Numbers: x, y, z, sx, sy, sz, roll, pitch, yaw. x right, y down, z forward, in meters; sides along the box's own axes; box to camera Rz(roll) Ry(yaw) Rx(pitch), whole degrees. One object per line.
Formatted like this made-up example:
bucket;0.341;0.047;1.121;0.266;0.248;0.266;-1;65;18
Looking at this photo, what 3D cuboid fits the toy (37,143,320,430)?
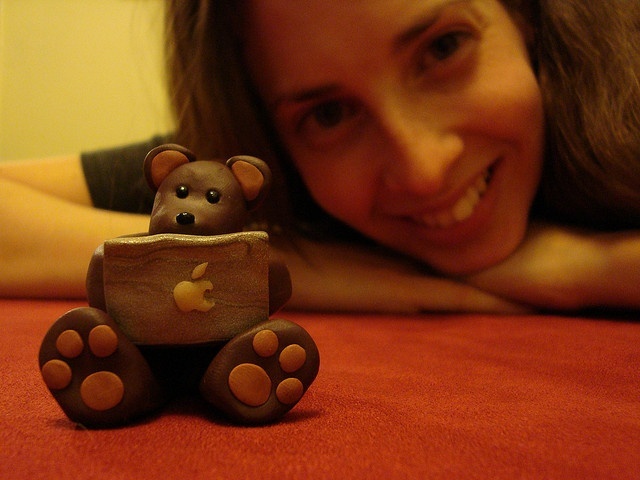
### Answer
toy;-0.211;0.101;1.115;0.497;0.563;0.336;2;-1;-6
